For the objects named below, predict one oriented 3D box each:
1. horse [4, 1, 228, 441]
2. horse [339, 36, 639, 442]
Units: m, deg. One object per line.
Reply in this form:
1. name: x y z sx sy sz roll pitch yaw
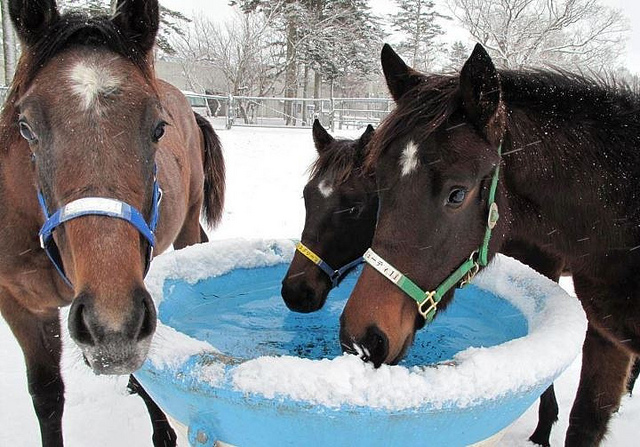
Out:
1. horse: -1.454 0.165 4.581 0.861 3.023 1.397 -6 19 -34
2. horse: 1.195 -0.131 4.750 1.939 1.971 1.017 5 16 0
